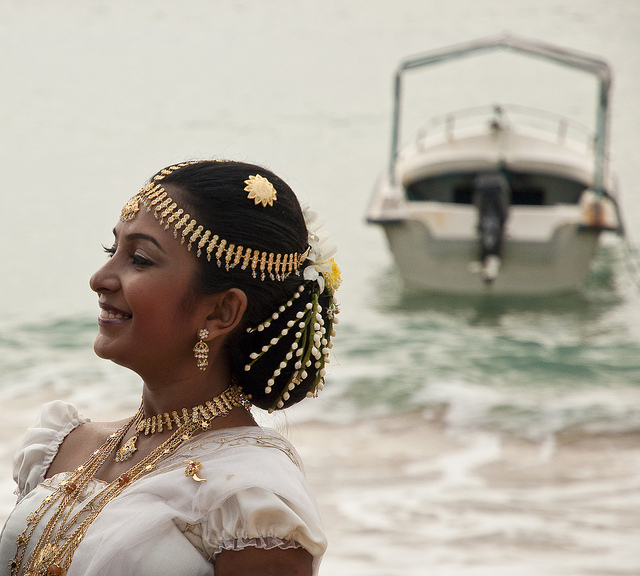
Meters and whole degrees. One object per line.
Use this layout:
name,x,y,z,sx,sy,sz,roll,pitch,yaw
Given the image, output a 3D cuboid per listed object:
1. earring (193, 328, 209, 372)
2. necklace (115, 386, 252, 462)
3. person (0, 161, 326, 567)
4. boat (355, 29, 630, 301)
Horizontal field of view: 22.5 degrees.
earring,-0.467,0.238,6.291,0.070,0.173,0.036,0,9,-18
necklace,-0.544,0.507,6.495,0.694,0.133,0.511,-21,9,-43
person,-0.588,0.300,6.267,1.207,1.575,0.573,2,8,-1
boat,0.973,-0.644,8.909,1.433,0.924,2.320,2,16,11
